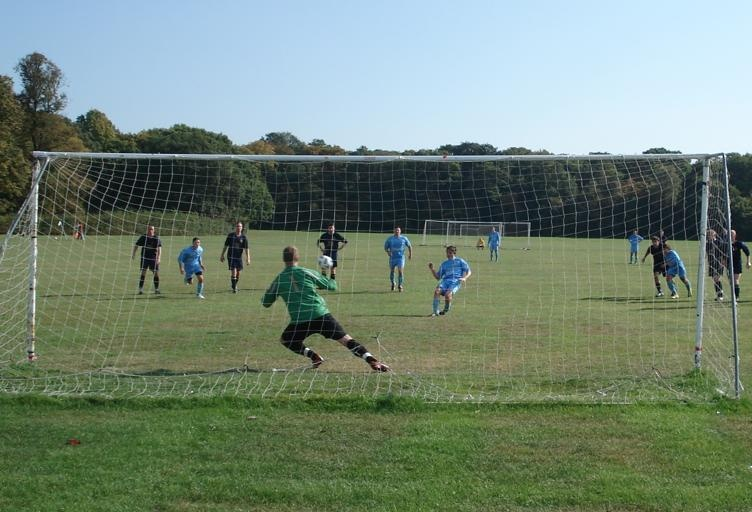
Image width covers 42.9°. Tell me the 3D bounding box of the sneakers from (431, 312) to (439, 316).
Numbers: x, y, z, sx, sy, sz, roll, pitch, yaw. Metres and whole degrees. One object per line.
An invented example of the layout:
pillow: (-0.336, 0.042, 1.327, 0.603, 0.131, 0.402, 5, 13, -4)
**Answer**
sneakers: (1.527, 1.501, 24.661, 0.200, 0.134, 0.293, 1, -7, 0)

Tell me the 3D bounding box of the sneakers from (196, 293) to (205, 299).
sneakers: (-4.885, 1.117, 26.875, 0.293, 0.176, 0.094, 0, 17, -25)
